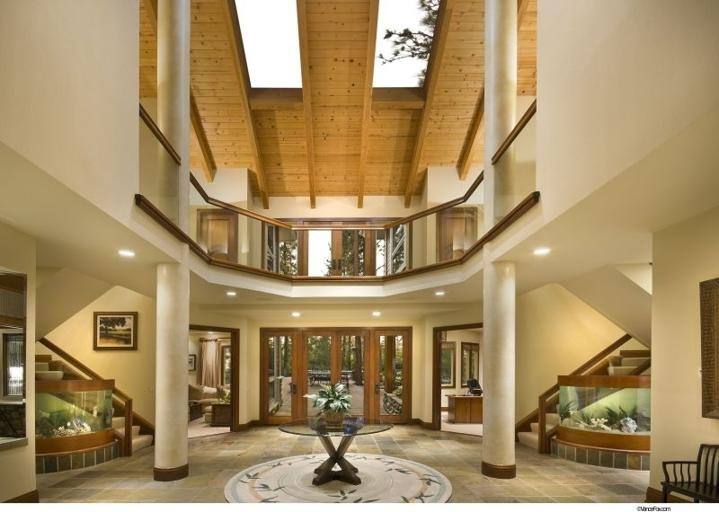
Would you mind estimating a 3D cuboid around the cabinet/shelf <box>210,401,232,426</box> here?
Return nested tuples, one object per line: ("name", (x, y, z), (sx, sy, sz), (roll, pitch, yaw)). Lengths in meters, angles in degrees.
("cabinet/shelf", (-3.461, 3.942, 12.862), (0.621, 0.519, 0.587), (0, -6, -2))

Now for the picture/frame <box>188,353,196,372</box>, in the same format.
("picture/frame", (-5.275, 3.388, 16.144), (0.103, 0.528, 0.293), (-2, -8, 16))

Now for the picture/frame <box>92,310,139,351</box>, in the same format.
("picture/frame", (-5.079, 1.569, 10.540), (0.911, 0.842, 0.093), (0, -6, -5))

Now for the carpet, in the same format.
("carpet", (-0.294, 3.349, 7.700), (3.174, 0.066, 2.219), (0, -8, 1))

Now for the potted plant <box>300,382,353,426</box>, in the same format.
("potted plant", (-0.469, 2.372, 8.312), (0.588, 0.617, 1.106), (1, -8, -4))

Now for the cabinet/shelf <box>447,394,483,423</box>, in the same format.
("cabinet/shelf", (2.654, 3.883, 12.921), (0.810, 0.659, 0.393), (-1, -8, 9))
